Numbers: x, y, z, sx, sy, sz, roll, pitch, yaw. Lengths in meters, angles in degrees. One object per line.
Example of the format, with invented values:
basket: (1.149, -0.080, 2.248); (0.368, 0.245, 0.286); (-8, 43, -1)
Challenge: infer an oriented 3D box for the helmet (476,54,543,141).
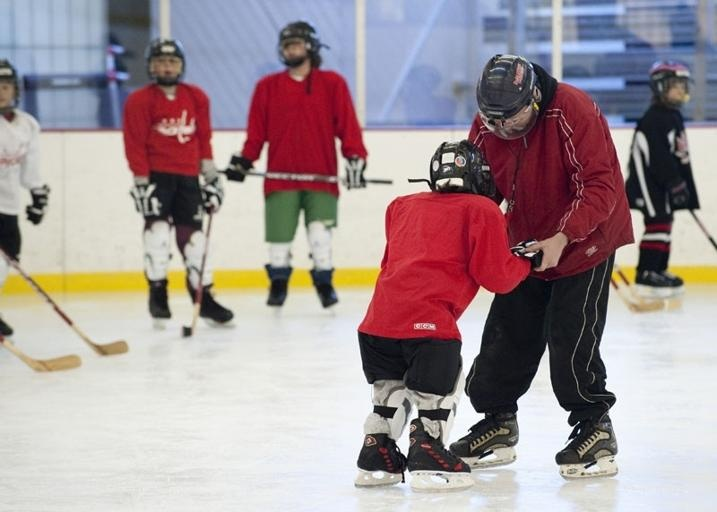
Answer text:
helmet: (0.673, -0.688, 4.928); (0.269, 0.336, 0.311); (2, -19, 26)

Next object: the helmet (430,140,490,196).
helmet: (0.470, -0.402, 4.931); (0.248, 0.238, 0.242); (-12, 15, -43)

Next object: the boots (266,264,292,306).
boots: (-0.551, 0.203, 7.648); (0.137, 0.312, 0.134); (1, -14, 1)

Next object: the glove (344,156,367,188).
glove: (-0.024, -0.563, 7.572); (0.150, 0.193, 0.096); (2, 8, 8)

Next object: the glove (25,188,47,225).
glove: (-2.026, -0.311, 6.957); (0.143, 0.213, 0.080); (7, -2, -28)

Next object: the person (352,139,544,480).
person: (0.344, 0.356, 4.819); (0.702, 1.235, 0.421); (1, 8, 9)

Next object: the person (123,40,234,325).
person: (-1.164, -0.466, 7.129); (0.661, 1.816, 0.377); (-2, 8, -11)

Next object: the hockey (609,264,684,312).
hockey: (2.104, 0.242, 8.132); (0.312, 0.377, 0.213); (-15, 6, 14)

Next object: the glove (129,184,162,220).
glove: (-1.336, -0.352, 7.111); (0.209, 0.201, 0.069); (3, 9, 2)

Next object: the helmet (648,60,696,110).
helmet: (2.268, -1.243, 8.061); (0.288, 0.322, 0.338); (0, 1, -24)

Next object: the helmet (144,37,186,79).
helmet: (-1.230, -1.261, 7.120); (0.189, 0.210, 0.238); (0, -27, -11)

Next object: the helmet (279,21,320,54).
helmet: (-0.389, -1.467, 7.466); (0.250, 0.179, 0.190); (10, -15, -43)

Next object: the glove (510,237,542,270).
glove: (0.722, -0.019, 4.820); (0.138, 0.056, 0.102); (7, 38, 2)

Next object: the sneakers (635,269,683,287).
sneakers: (2.253, 0.156, 8.364); (0.345, 0.151, 0.129); (1, 6, 22)

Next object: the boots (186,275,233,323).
boots: (-0.941, 0.302, 7.208); (0.317, 0.221, 0.107); (7, 21, 43)
